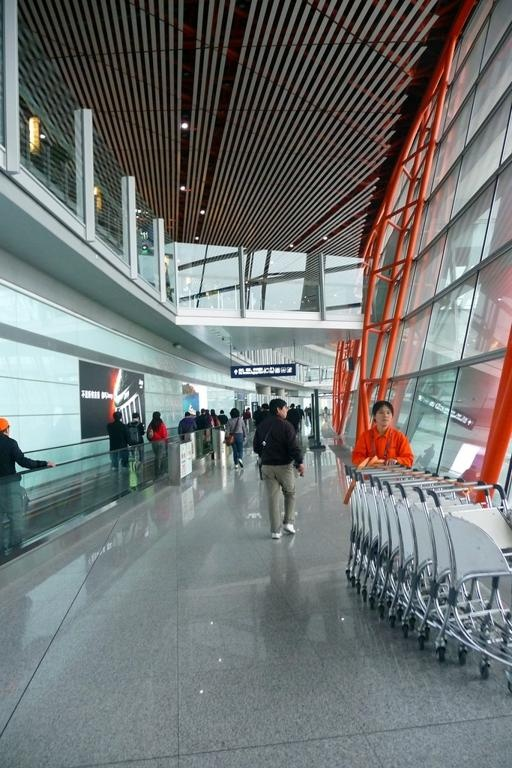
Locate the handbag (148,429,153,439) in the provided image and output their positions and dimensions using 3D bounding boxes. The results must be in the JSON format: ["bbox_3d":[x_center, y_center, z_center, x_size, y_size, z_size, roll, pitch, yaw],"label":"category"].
[{"bbox_3d":[-2.718,1.287,11.817,0.073,0.239,0.172,-1,-12,-8],"label":"handbag"}]

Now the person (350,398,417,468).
[{"bbox_3d":[1.300,0.587,4.717,0.571,0.845,0.503,-1,-7,26],"label":"person"}]

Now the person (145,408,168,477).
[{"bbox_3d":[-2.452,1.508,11.511,0.473,1.607,1.463,-1,-7,-12],"label":"person"}]

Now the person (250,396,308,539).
[{"bbox_3d":[0.294,1.081,6.159,0.621,1.829,0.950,-2,-7,0],"label":"person"}]

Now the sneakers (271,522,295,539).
[{"bbox_3d":[0.359,1.932,5.962,0.127,0.170,0.381,5,9,37],"label":"sneakers"}]
